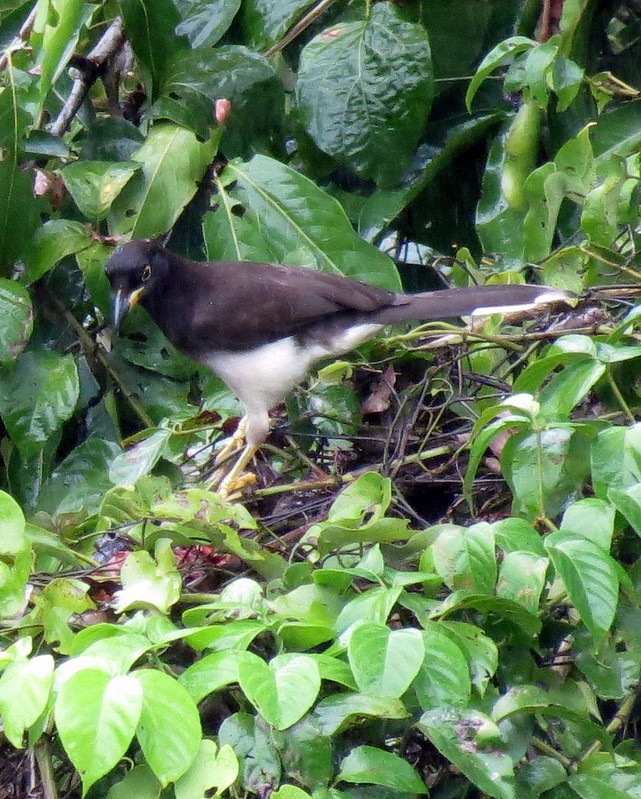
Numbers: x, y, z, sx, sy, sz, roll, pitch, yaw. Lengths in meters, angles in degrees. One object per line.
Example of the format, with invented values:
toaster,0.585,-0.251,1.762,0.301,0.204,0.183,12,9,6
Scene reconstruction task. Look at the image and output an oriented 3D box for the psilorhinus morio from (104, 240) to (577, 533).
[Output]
psilorhinus morio,0.048,-0.132,2.094,1.022,0.415,0.257,-5,9,17
